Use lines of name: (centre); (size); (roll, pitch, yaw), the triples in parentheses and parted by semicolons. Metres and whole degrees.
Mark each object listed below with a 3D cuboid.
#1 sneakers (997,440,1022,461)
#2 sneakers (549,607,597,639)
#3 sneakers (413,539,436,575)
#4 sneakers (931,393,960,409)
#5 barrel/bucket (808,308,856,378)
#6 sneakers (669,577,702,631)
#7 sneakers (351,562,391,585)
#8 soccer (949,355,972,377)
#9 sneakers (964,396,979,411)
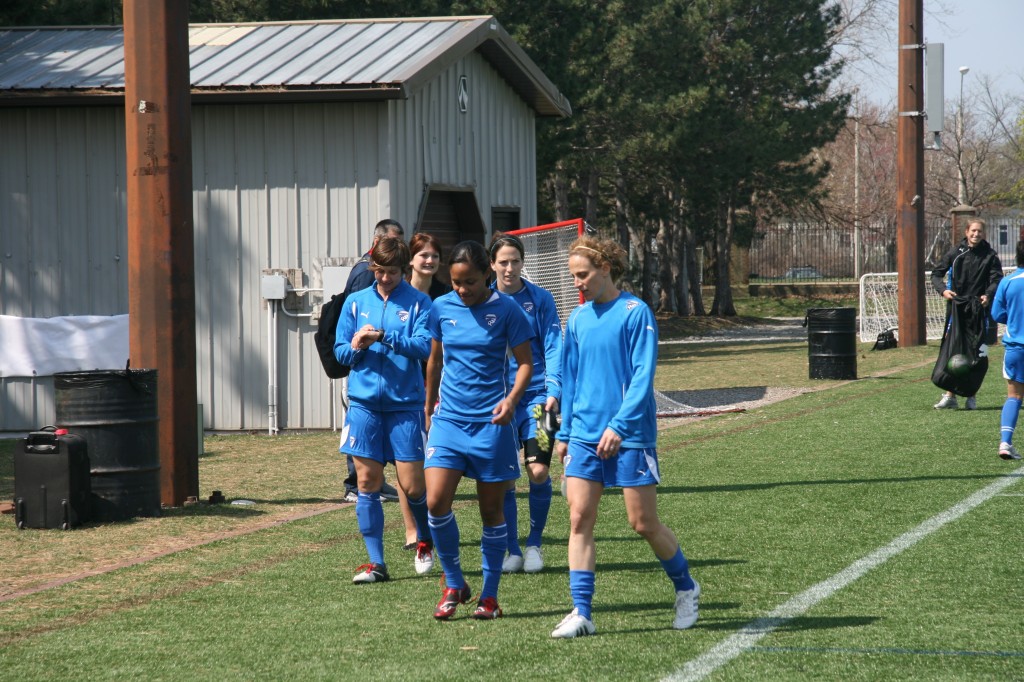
sneakers: (6.608, 1.496, 24.626); (0.249, 0.235, 0.240); (-2, 1, 12)
sneakers: (0.625, 3.150, 20.082); (0.477, 0.264, 0.238); (1, -3, -13)
sneakers: (-1.074, 2.576, 21.461); (0.160, 0.445, 0.187); (-2, -1, 0)
sneakers: (6.618, 0.951, 28.229); (0.436, 0.268, 0.171); (0, 1, 3)
barrel/bucket: (5.517, 0.048, 32.079); (0.852, 1.256, 0.625); (-2, 1, 8)
sneakers: (1.860, 2.950, 20.148); (0.212, 0.593, 0.231); (-1, -23, 31)
sneakers: (-1.659, 2.726, 21.139); (0.508, 0.240, 0.174); (3, -3, -20)
soccer: (6.720, 0.383, 27.753); (0.279, 0.281, 0.278); (-2, 33, 36)
sneakers: (6.981, 0.967, 28.123); (0.156, 0.242, 0.235); (2, -4, -3)
